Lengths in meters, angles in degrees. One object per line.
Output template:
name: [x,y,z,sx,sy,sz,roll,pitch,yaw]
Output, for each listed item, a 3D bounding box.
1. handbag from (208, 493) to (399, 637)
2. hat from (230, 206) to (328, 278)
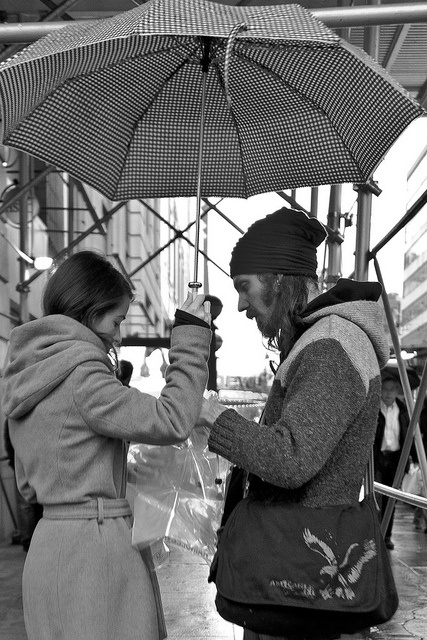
handbag: [0.207,0.579,2.330,0.438,0.391,0.272,1,-12,9]
hat: [0.186,-0.159,2.636,0.172,0.157,0.187,8,-15,-18]
